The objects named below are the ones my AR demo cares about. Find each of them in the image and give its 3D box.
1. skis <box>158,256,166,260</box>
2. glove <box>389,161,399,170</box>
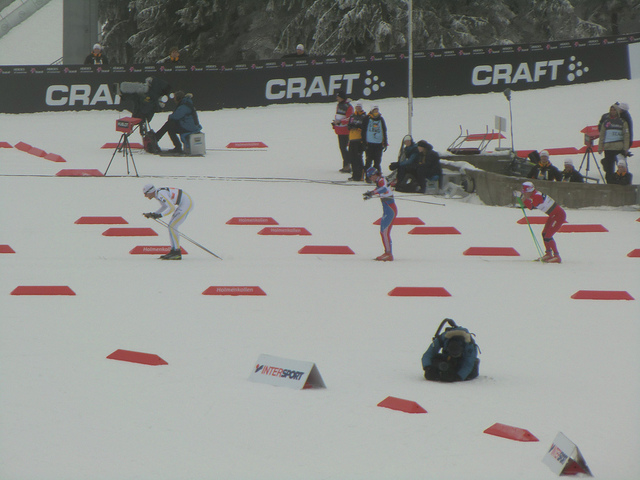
[{"bbox_3d":[-3.649,0.436,37.011,0.086,0.044,0.261,-9,15,-39],"label":"skis"},{"bbox_3d":[2.030,-1.937,42.294,0.246,0.250,0.481,0,11,1],"label":"glove"}]
